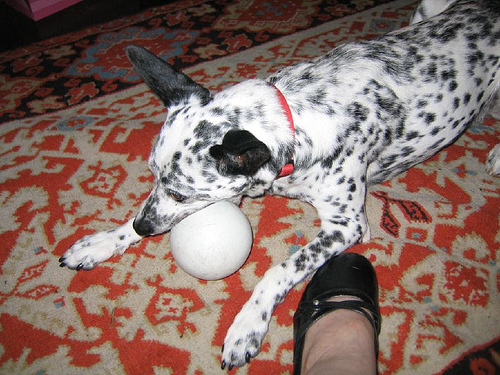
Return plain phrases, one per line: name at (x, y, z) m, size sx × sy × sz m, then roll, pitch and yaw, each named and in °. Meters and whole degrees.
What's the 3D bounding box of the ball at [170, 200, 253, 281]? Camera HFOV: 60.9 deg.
ball at (-0.275, 0.374, 3.119) m, size 0.601 × 0.603 × 0.239 m, roll 17°, pitch -14°, yaw -6°
